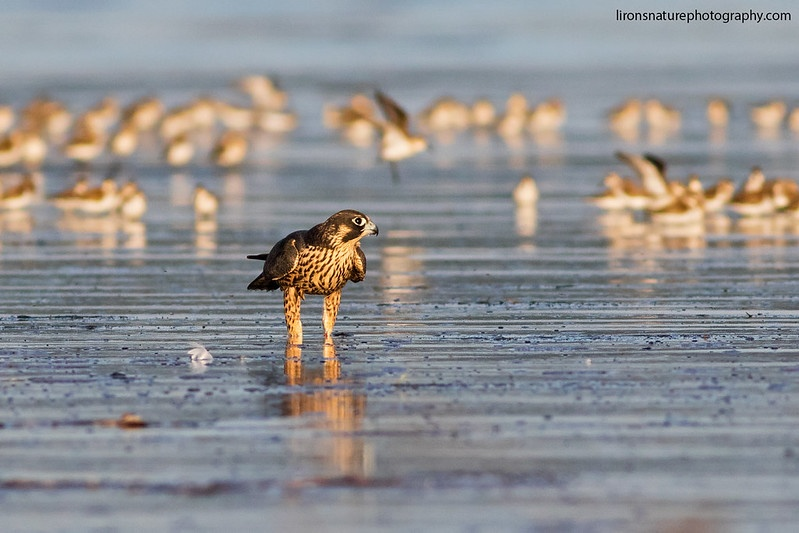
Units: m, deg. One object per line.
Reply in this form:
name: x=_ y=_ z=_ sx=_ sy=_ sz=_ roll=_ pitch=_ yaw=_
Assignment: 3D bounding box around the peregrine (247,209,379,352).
peregrine: x=-0.959 y=0.243 z=18.396 sx=0.992 sy=2.110 sz=1.152 roll=20 pitch=57 yaw=13
